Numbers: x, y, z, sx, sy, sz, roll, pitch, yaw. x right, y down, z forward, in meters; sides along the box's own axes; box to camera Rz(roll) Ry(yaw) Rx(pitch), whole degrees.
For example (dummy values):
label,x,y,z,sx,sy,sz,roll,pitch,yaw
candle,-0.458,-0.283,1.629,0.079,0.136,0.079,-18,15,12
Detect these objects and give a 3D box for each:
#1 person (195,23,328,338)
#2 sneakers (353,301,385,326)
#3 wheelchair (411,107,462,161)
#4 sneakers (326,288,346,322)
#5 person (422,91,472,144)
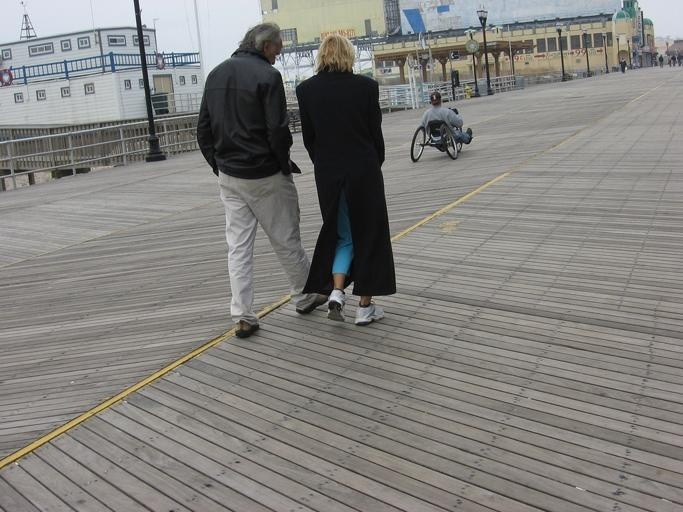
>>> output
label,x,y,z,sx,sy,sz,roll,pitch,yaw
person,-0.638,-0.592,4.847,0.812,2.409,0.629,-10,17,-9
sneakers,0.257,0.475,4.991,0.125,0.122,0.307,7,14,35
wheelchair,1.919,-2.518,13.393,0.900,0.861,1.267,-11,15,-18
sneakers,-0.031,0.380,4.838,0.129,0.267,0.126,8,59,13
person,2.393,-3.074,14.078,0.990,0.870,1.720,-2,3,28
